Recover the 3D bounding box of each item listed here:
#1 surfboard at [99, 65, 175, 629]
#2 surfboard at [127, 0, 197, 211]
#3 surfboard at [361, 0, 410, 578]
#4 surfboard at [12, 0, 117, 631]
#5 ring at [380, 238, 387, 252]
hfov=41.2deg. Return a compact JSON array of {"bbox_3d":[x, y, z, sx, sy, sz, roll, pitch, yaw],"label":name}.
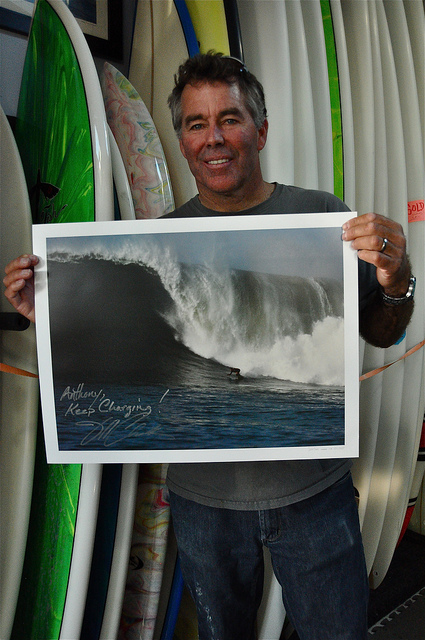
[{"bbox_3d":[-0.158,0.054,1.401,0.165,1.312,0.135,-4,-2,-1],"label":"surfboard"},{"bbox_3d":[-0.107,-0.685,1.490,0.088,0.814,0.129,6,-23,-40],"label":"surfboard"},{"bbox_3d":[0.468,-0.053,1.636,0.172,1.663,0.163,0,0,6],"label":"surfboard"},{"bbox_3d":[-0.286,-0.048,1.282,0.264,1.420,0.132,-5,-9,36],"label":"surfboard"},{"bbox_3d":[0.290,-0.126,0.956,0.004,0.017,0.016,14,-6,13],"label":"ring"}]
